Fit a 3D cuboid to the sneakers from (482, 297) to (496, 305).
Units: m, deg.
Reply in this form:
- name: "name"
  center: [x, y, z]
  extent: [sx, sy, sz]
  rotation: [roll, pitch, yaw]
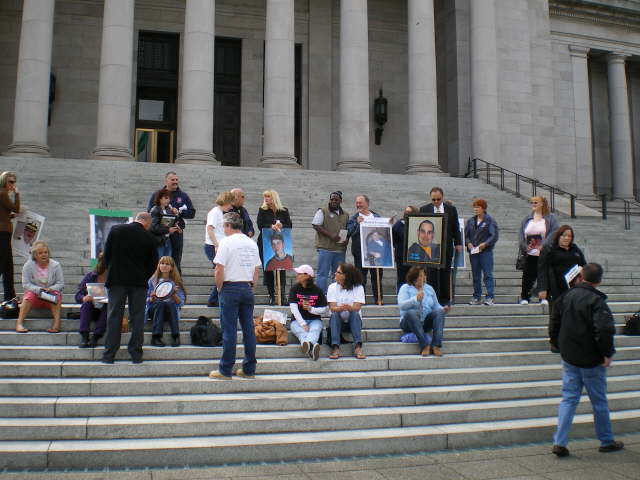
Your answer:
- name: "sneakers"
  center: [3.635, 1.343, 17.643]
  extent: [0.106, 0.137, 0.316]
  rotation: [-3, -16, 38]

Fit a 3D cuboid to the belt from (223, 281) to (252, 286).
- name: "belt"
  center: [-1.449, 0.749, 14.084]
  extent: [0.443, 0.065, 0.102]
  rotation: [2, -1, -24]

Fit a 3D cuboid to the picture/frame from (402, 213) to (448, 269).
- name: "picture/frame"
  center: [2.163, 0.015, 16.798]
  extent: [1.194, 1.426, 0.152]
  rotation: [3, -9, 4]

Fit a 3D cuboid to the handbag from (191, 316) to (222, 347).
- name: "handbag"
  center: [-2.113, 1.685, 15.081]
  extent: [0.572, 0.466, 0.386]
  rotation: [2, -1, -11]

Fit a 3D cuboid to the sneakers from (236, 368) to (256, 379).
- name: "sneakers"
  center: [-1.303, 2.323, 14.210]
  extent: [0.140, 0.128, 0.317]
  rotation: [2, 6, -43]

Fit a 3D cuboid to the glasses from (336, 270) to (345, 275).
- name: "glasses"
  center: [0.369, 0.604, 15.504]
  extent: [0.069, 0.107, 0.190]
  rotation: [3, -1, -39]

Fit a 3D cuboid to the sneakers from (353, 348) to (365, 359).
- name: "sneakers"
  center: [0.718, 2.080, 15.128]
  extent: [0.223, 0.151, 0.363]
  rotation: [2, -1, 3]

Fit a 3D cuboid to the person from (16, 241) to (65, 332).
- name: "person"
  center: [-5.224, 0.860, 15.251]
  extent: [0.777, 1.604, 0.771]
  rotation: [2, -1, -17]

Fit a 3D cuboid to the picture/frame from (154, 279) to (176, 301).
- name: "picture/frame"
  center: [-2.903, 0.925, 15.156]
  extent: [0.339, 0.294, 0.180]
  rotation: [2, -1, -1]

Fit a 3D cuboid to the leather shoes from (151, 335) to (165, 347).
- name: "leather shoes"
  center: [-2.974, 1.835, 14.950]
  extent: [0.239, 0.184, 0.374]
  rotation: [2, -1, -11]

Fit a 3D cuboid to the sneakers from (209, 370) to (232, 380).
- name: "sneakers"
  center: [-1.758, 2.314, 14.069]
  extent: [0.291, 0.105, 0.154]
  rotation: [1, -6, 18]

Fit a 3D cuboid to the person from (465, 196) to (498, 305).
- name: "person"
  center: [3.484, 0.242, 17.782]
  extent: [0.678, 1.557, 0.811]
  rotation: [2, -1, 8]

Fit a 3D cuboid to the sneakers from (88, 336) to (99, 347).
- name: "sneakers"
  center: [-4.080, 1.831, 14.757]
  extent: [0.151, 0.180, 0.257]
  rotation: [2, -1, -2]

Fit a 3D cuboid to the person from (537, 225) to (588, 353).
- name: "person"
  center: [4.670, 0.895, 15.697]
  extent: [0.965, 2.382, 0.776]
  rotation: [-2, 15, 12]

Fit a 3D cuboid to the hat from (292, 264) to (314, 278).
- name: "hat"
  center: [-0.318, 0.576, 15.565]
  extent: [0.357, 0.171, 0.243]
  rotation: [13, -6, -8]

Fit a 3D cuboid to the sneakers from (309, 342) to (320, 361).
- name: "sneakers"
  center: [-0.090, 1.998, 14.767]
  extent: [0.131, 0.332, 0.149]
  rotation: [-4, 17, -25]

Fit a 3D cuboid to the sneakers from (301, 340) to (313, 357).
- name: "sneakers"
  center: [-0.248, 1.963, 14.916]
  extent: [0.137, 0.328, 0.147]
  rotation: [4, 15, 14]

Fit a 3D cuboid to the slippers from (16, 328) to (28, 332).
- name: "slippers"
  center: [-5.450, 1.654, 14.916]
  extent: [0.192, 0.070, 0.131]
  rotation: [2, -1, -23]

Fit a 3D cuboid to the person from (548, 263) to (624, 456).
- name: "person"
  center: [4.149, 1.895, 12.901]
  extent: [1.046, 3.047, 0.578]
  rotation: [2, -1, 17]

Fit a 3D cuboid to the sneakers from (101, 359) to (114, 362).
- name: "sneakers"
  center: [-3.686, 2.091, 14.194]
  extent: [0.192, 0.085, 0.204]
  rotation: [2, -1, -16]

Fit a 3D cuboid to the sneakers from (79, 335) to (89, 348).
- name: "sneakers"
  center: [-4.221, 1.813, 14.647]
  extent: [0.165, 0.201, 0.170]
  rotation: [2, -1, -5]

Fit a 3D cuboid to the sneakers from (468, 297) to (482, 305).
- name: "sneakers"
  center: [3.349, 1.326, 17.597]
  extent: [0.322, 0.126, 0.115]
  rotation: [10, -11, -40]

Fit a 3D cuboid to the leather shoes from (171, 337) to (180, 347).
- name: "leather shoes"
  center: [-2.655, 1.858, 14.953]
  extent: [0.145, 0.161, 0.425]
  rotation: [3, -5, -6]

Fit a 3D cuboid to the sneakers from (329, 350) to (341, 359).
- name: "sneakers"
  center: [0.271, 2.097, 15.091]
  extent: [0.210, 0.136, 0.330]
  rotation: [2, -1, 2]

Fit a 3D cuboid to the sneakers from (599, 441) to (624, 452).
- name: "sneakers"
  center: [4.626, 3.281, 13.040]
  extent: [0.426, 0.166, 0.151]
  rotation: [-9, 9, -15]
